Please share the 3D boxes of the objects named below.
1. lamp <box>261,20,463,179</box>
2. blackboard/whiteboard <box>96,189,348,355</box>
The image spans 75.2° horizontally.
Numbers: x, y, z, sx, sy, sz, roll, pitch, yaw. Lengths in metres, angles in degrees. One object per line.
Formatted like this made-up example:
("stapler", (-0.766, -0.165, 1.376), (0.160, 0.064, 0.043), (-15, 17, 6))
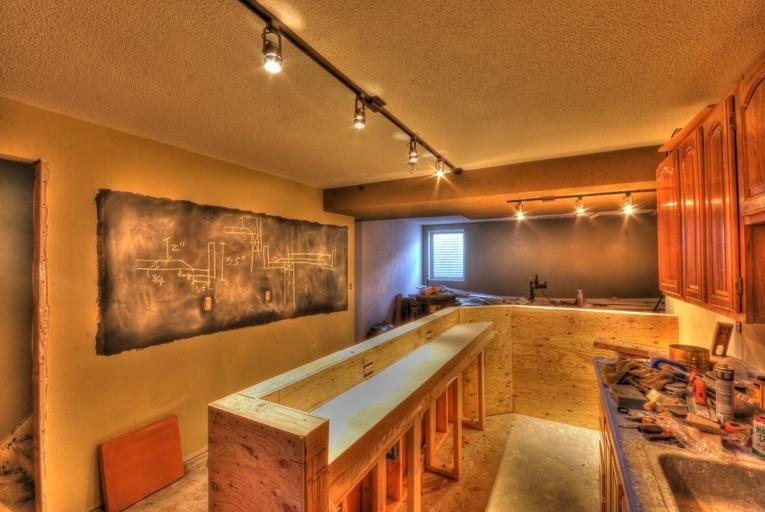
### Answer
("lamp", (-0.162, -1.238, 3.857), (0.129, 0.209, 1.469), (-6, -28, 31))
("blackboard/whiteboard", (-1.409, 0.141, 5.232), (0.016, 1.218, 2.993), (-7, -4, 31))
